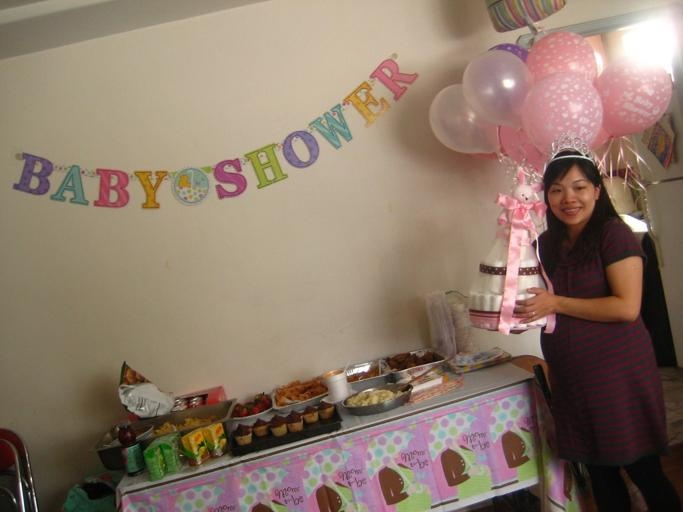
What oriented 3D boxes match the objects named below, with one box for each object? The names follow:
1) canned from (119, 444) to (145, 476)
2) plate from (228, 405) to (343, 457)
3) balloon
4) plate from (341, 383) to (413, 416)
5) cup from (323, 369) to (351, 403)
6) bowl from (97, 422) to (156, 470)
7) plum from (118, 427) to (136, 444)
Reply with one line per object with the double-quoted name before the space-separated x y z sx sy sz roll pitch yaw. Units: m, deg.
"canned" -0.948 0.928 2.226 0.087 0.141 0.057 -9 -7 -27
"plate" -0.266 0.752 2.243 0.376 0.056 0.224 -10 -3 -10
"balloon" 1.032 -0.575 2.452 0.844 0.751 0.855 -27 30 -25
"plate" 0.168 0.687 2.328 0.201 0.046 0.185 -14 -6 0
"cup" -0.027 0.670 2.569 0.140 0.156 0.145 -8 0 0
"bowl" -1.003 0.947 2.400 0.234 0.103 0.314 -19 -9 27
"plum" -0.985 0.827 2.240 0.068 0.069 0.070 -6 4 0
